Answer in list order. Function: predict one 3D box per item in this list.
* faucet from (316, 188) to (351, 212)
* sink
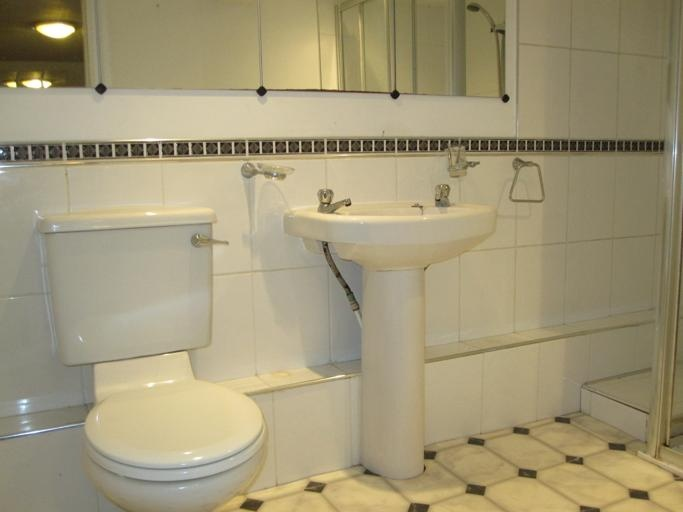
[{"bbox_3d":[-0.047,-0.226,2.338,0.177,0.116,0.066,14,18,39],"label":"faucet"},{"bbox_3d":[0.226,-0.125,2.303,0.784,0.145,0.524,-7,15,-24],"label":"sink"}]
